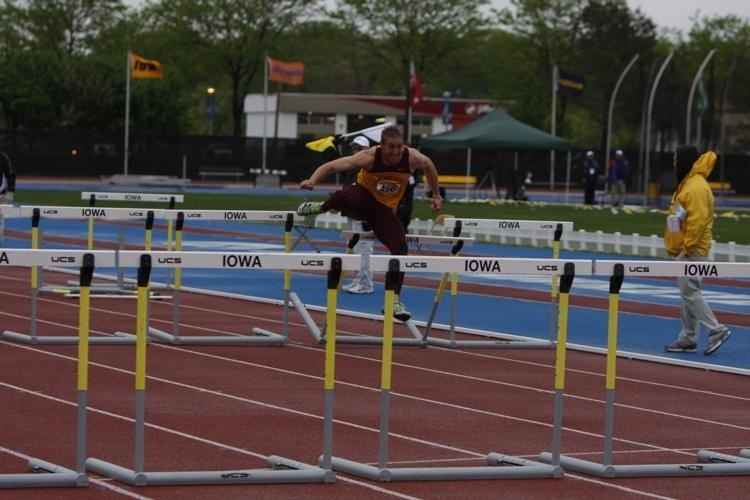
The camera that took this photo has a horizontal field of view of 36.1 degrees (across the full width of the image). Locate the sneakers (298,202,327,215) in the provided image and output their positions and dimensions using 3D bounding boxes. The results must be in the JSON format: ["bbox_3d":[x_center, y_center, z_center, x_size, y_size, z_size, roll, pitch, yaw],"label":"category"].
[{"bbox_3d":[-0.880,-0.553,15.700,0.434,0.138,0.175,-7,0,-1],"label":"sneakers"}]

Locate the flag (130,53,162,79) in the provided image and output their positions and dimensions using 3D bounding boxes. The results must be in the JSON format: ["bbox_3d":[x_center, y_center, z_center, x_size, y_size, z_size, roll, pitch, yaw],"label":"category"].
[{"bbox_3d":[-9.801,-7.765,48.638,1.283,0.870,2.229,0,4,-11],"label":"flag"}]

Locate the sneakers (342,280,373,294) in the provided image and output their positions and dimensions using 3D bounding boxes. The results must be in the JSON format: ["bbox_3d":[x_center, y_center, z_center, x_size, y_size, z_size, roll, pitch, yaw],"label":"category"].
[{"bbox_3d":[-0.291,0.669,20.512,0.435,0.164,0.239,4,-1,-3],"label":"sneakers"}]
